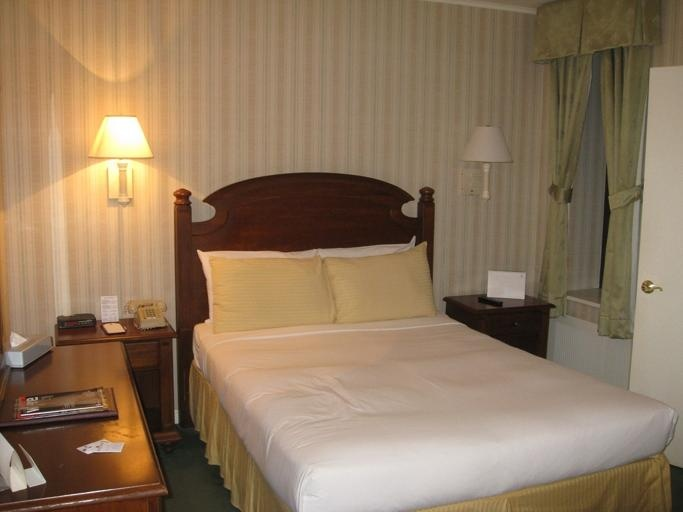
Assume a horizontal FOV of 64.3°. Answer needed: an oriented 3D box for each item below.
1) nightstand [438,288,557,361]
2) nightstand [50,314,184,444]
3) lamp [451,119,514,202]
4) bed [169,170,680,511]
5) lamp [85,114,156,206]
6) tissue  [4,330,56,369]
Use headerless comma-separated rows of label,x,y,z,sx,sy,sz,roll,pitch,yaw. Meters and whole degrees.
nightstand,1.242,0.512,4.549,0.763,0.509,0.676,4,7,-15
nightstand,-1.358,0.745,3.849,0.921,1.107,0.741,-3,10,-19
lamp,1.114,-0.755,4.353,0.387,0.678,0.388,13,12,14
bed,0.058,0.700,3.357,1.967,1.782,2.569,-5,20,-22
lamp,-1.453,-0.632,3.599,0.371,0.619,0.399,1,11,-35
tissue ,-1.505,0.442,2.588,0.157,0.038,0.165,7,8,16
